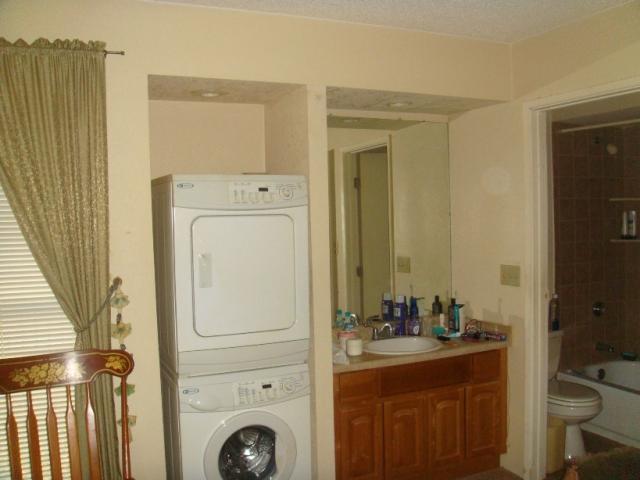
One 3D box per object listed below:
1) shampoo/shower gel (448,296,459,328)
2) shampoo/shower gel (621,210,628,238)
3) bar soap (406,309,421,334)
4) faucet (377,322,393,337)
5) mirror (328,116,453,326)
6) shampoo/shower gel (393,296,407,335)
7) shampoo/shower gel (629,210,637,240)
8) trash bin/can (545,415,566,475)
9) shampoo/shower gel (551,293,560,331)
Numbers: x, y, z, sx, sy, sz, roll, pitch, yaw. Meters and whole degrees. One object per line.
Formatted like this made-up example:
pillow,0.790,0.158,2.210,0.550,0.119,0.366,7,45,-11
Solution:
shampoo/shower gel,1.002,0.580,4.171,0.079,0.179,0.049,-2,2,15
shampoo/shower gel,2.886,-0.148,5.296,0.062,0.250,0.034,-1,2,42
bar soap,0.704,0.622,4.144,0.116,0.169,0.067,-3,2,-31
faucet,0.480,0.662,4.103,0.133,0.132,0.073,1,0,-32
mirror,0.559,-0.172,4.219,1.013,1.467,0.158,-3,2,-29
shampoo/shower gel,0.598,0.562,4.130,0.099,0.287,0.067,-2,2,7
shampoo/shower gel,2.949,-0.147,5.262,0.080,0.272,0.026,-1,2,27
trash bin/can,1.738,1.519,4.113,0.121,0.351,0.250,-1,2,27
shampoo/shower gel,2.128,0.649,5.056,0.066,0.319,0.264,-2,1,24
